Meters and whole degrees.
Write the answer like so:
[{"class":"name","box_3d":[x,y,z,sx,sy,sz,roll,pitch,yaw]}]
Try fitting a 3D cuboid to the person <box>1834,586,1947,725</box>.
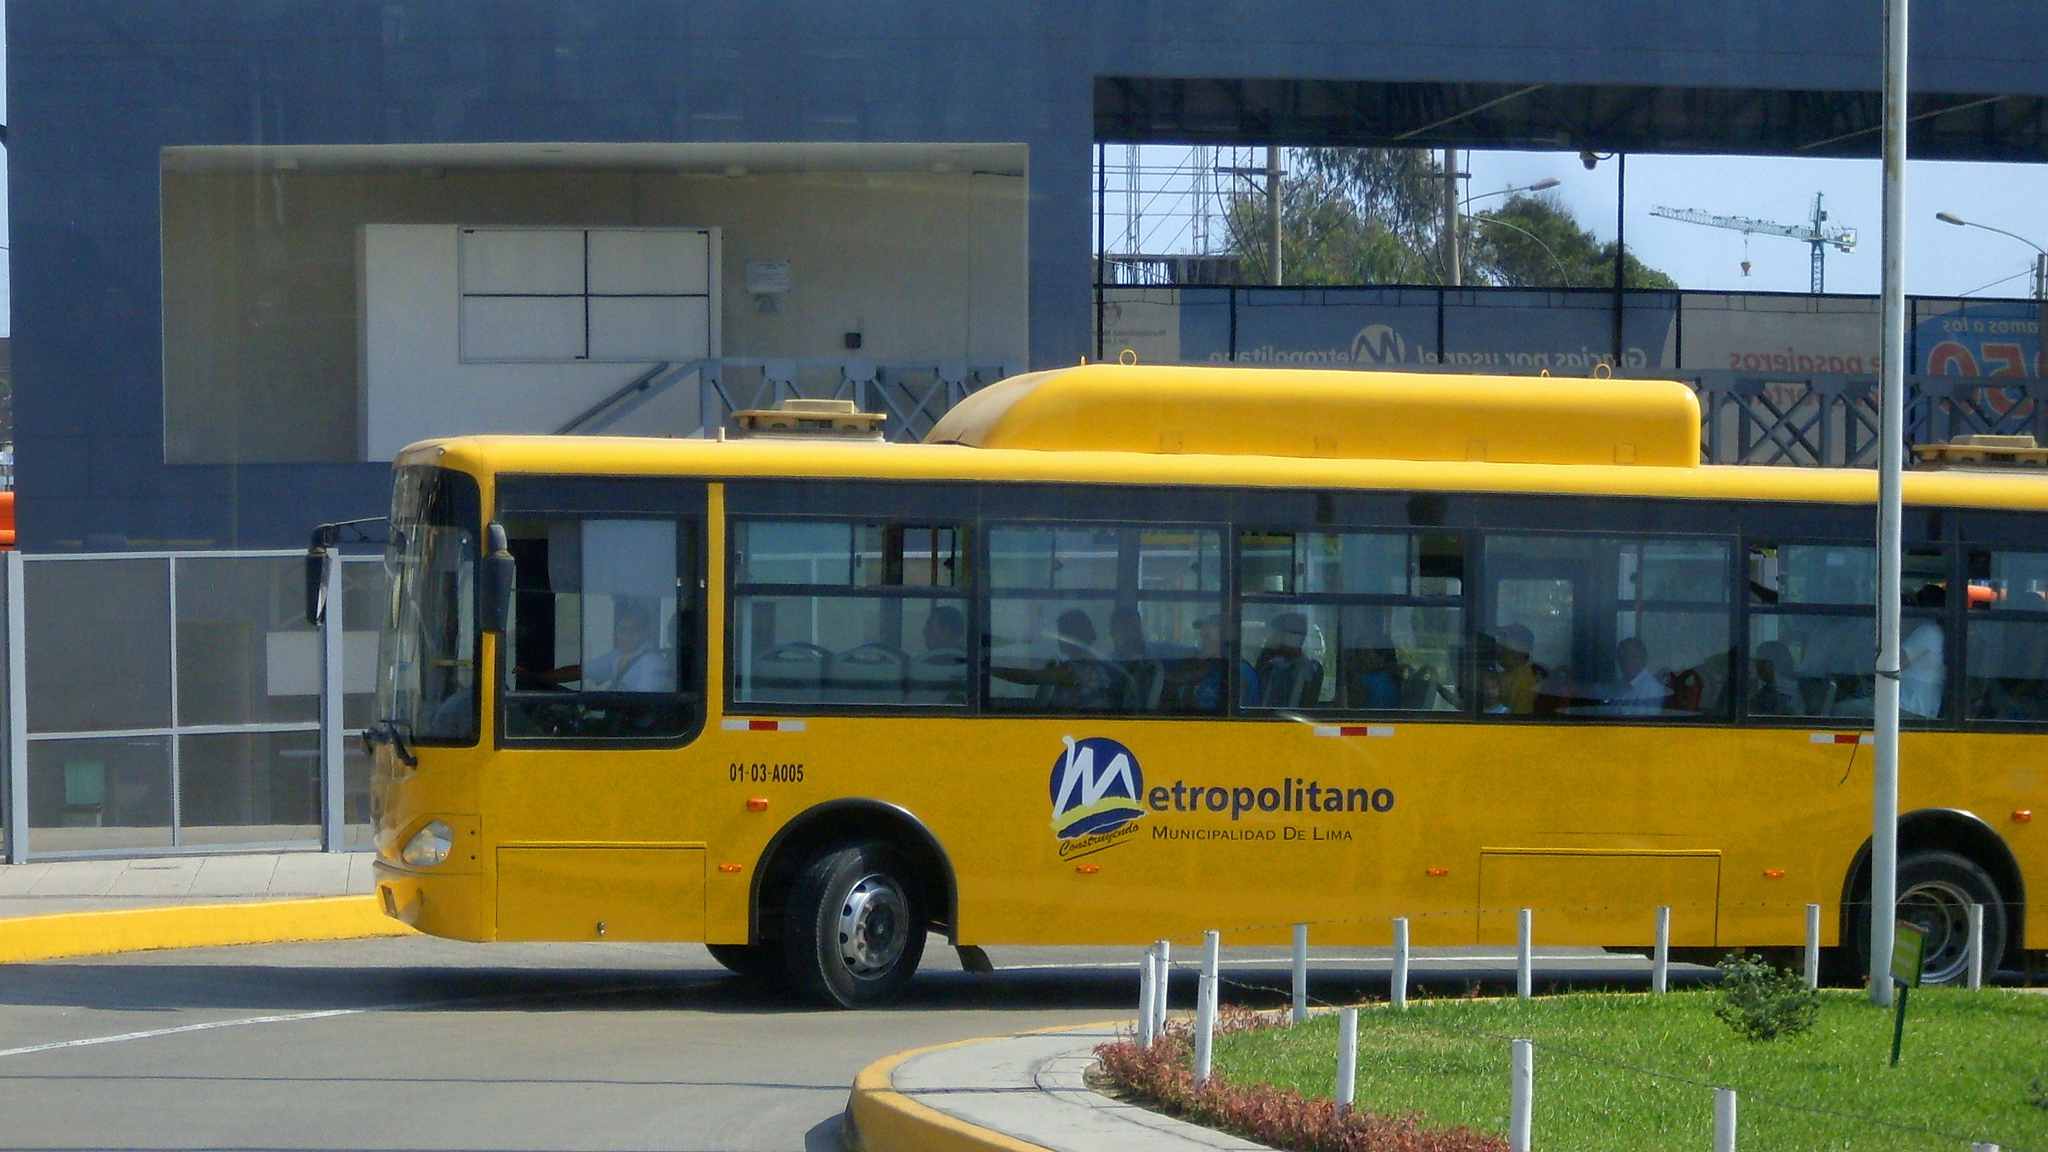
[{"class":"person","box_3d":[11.540,1.057,52.977,1.165,2.082,0.954,1,0,-10]}]
